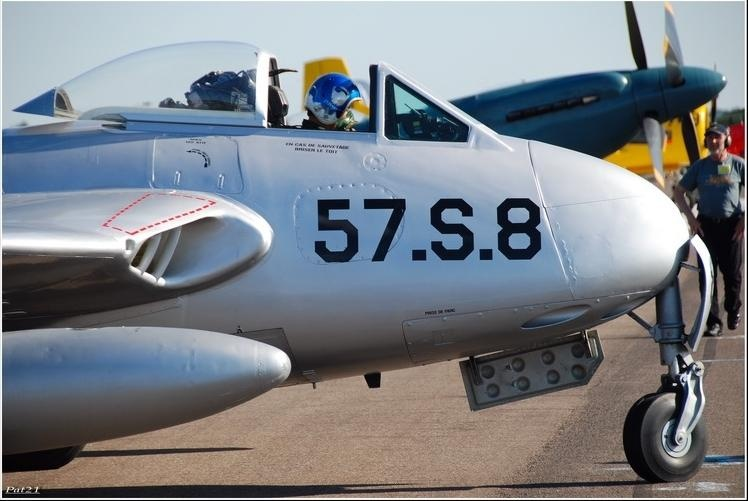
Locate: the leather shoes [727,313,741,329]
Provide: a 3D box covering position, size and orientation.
[{"bbox_3d":[5.209,1.006,10.607,0.184,0.220,0.533,-5,-1,17],"label":"leather shoes"}]

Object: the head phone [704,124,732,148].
[{"bbox_3d":[4.191,-1.446,9.013,0.298,0.288,0.300,-5,-16,33],"label":"head phone"}]

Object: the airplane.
[{"bbox_3d":[-0.495,-0.062,7.177,4.970,2.581,4.647,-3,3,-2],"label":"airplane"}]

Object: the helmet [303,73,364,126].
[{"bbox_3d":[-0.420,-1.449,7.058,0.504,0.493,0.491,17,20,25],"label":"helmet"}]
